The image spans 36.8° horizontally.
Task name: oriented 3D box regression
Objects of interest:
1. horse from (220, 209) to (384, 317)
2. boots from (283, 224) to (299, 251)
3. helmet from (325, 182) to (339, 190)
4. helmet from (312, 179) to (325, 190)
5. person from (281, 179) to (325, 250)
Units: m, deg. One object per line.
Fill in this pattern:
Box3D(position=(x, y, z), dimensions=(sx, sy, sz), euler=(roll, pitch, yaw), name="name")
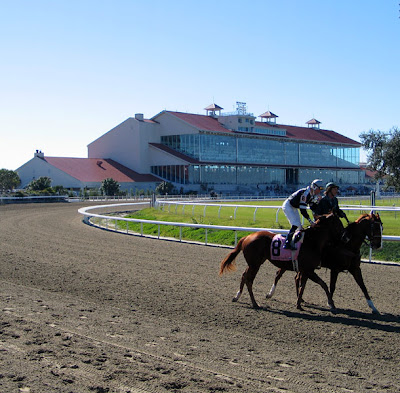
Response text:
Box3D(position=(1.296, 0.770, 7.527), dimensions=(1.878, 1.162, 0.795), euler=(1, 3, 17), name="horse")
Box3D(position=(1.143, 0.521, 7.504), dimensions=(0.170, 0.272, 0.327), euler=(1, 3, 9), name="boots")
Box3D(position=(1.687, -0.135, 7.636), dimensions=(0.154, 0.082, 0.126), euler=(-16, -2, 4), name="helmet")
Box3D(position=(1.438, -0.142, 7.392), dimensions=(0.116, 0.139, 0.149), euler=(-6, -1, -38), name="helmet")
Box3D(position=(1.342, 0.217, 7.842), dimensions=(0.538, 1.031, 0.307), euler=(13, 25, 16), name="person")
